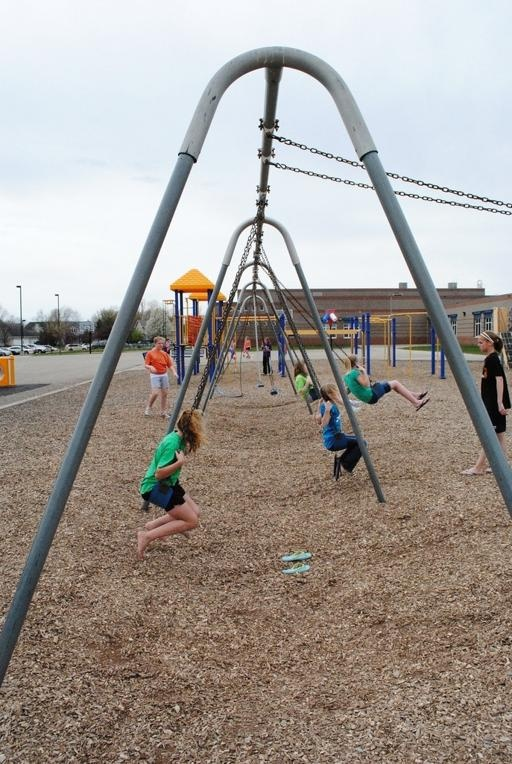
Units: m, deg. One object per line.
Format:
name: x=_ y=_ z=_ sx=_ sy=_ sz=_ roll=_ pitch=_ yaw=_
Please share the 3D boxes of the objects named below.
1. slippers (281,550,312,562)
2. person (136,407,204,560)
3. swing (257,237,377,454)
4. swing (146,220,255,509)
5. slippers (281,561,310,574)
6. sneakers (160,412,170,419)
slippers: x=0.243 y=1.058 z=4.003 sx=0.119 sy=0.034 sz=0.070 roll=0 pitch=7 yaw=-6
person: x=-0.521 y=0.598 z=3.973 sx=0.422 sy=0.815 sz=0.248 roll=-3 pitch=7 yaw=-15
swing: x=0.569 y=-0.545 z=6.307 sx=0.935 sy=2.241 sz=2.717 roll=-1 pitch=7 yaw=1
swing: x=-0.712 y=-0.083 z=8.903 sx=0.200 sy=3.900 sz=0.429 roll=15 pitch=-14 yaw=7
slippers: x=0.231 y=1.087 z=3.847 sx=0.164 sy=0.019 sz=0.162 roll=0 pitch=8 yaw=9
sneakers: x=-1.351 y=0.491 z=9.731 sx=0.159 sy=0.117 sz=0.055 roll=-3 pitch=14 yaw=-4
